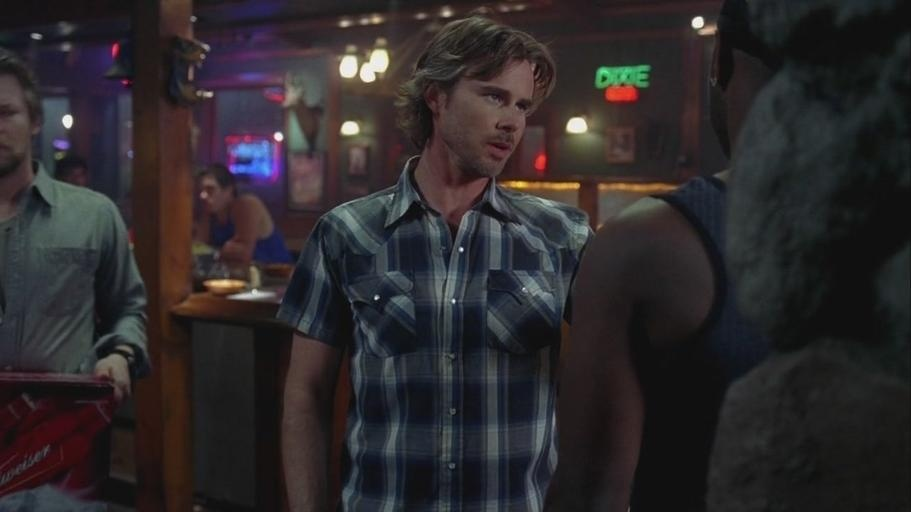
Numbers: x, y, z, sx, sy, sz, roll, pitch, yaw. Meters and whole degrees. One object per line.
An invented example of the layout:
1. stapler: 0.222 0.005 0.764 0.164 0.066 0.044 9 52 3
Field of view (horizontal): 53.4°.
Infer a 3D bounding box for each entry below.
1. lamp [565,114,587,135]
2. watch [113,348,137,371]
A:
1. lamp: 1.321 -1.424 9.843 0.181 0.129 0.176 1 -3 -4
2. watch: -1.733 0.535 4.730 0.112 0.076 0.110 1 5 -20
